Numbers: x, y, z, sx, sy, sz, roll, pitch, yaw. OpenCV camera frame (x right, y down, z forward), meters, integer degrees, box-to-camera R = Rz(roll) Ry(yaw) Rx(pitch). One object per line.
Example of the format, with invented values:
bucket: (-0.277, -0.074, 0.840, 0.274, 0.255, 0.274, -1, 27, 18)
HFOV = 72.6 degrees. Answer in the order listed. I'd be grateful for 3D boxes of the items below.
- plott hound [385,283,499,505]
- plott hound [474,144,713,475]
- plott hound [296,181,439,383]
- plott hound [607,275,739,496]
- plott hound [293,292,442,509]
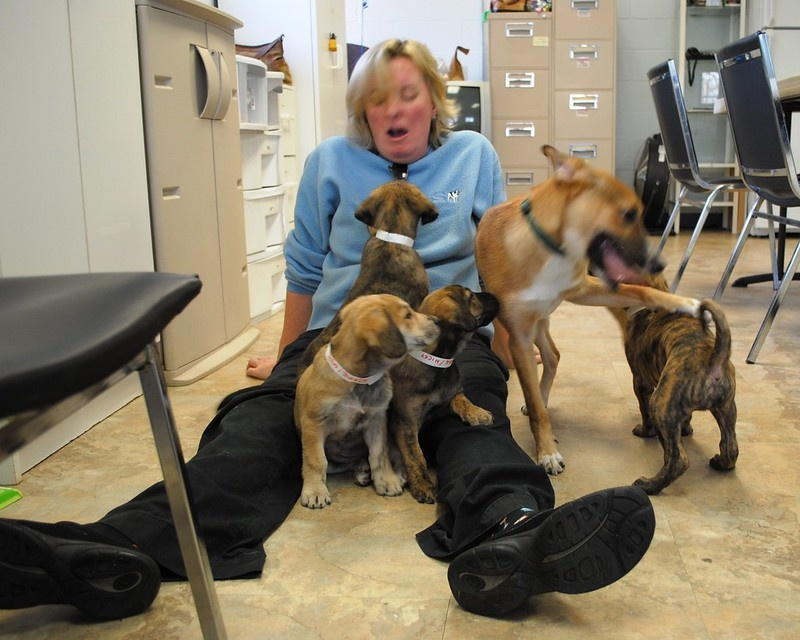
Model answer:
plott hound: (0.037, 0.169, 1.731, 0.358, 0.597, 0.439, 15, 20, 27)
plott hound: (0.399, -0.123, 2.087, 0.421, 1.000, 1.518, -9, 2, -15)
plott hound: (-0.079, -0.071, 1.712, 0.275, 0.494, 0.862, 4, 30, 13)
plott hound: (0.895, 0.138, 1.782, 0.278, 0.597, 0.941, -5, 13, 11)
plott hound: (-0.122, 0.195, 1.591, 0.394, 0.578, 0.406, -4, 17, -29)
